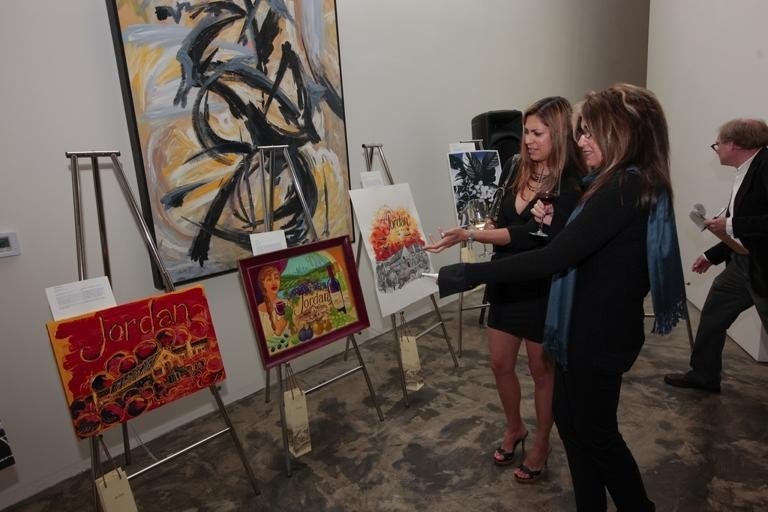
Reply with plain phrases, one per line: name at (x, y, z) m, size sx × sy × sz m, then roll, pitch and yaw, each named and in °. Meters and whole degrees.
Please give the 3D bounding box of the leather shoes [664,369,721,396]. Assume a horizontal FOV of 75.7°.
leather shoes at (2.462, 1.006, 4.029) m, size 0.429 × 0.179 × 0.156 m, roll 9°, pitch 5°, yaw 26°

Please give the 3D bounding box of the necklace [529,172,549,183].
necklace at (1.014, -0.509, 3.245) m, size 0.063 × 0.017 × 0.064 m, roll 12°, pitch 52°, yaw 29°

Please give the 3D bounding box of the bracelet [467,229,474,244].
bracelet at (0.560, -0.140, 3.232) m, size 0.049 × 0.079 × 0.071 m, roll 1°, pitch -2°, yaw 6°

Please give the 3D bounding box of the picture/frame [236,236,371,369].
picture/frame at (-0.648, 0.344, 3.737) m, size 1.069 × 0.965 × 0.088 m, roll -16°, pitch -2°, yaw -43°

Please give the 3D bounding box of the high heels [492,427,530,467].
high heels at (0.908, 1.359, 3.523) m, size 0.350 × 0.224 × 0.128 m, roll -3°, pitch 0°, yaw -34°
